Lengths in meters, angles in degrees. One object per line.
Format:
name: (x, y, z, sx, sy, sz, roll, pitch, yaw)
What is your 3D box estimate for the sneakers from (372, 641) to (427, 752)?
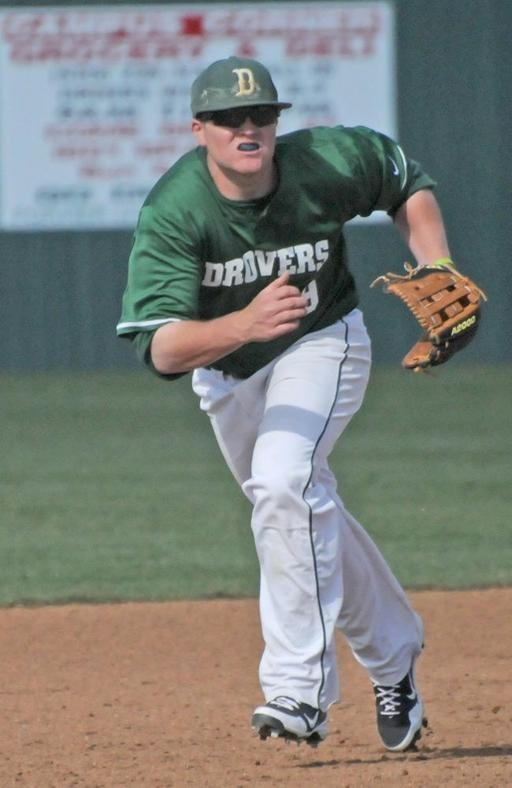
sneakers: (0.386, 0.835, 3.918, 0.087, 0.250, 0.123, -9, -26, 16)

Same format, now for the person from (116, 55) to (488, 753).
person: (0.118, -0.016, 3.913, 0.698, 1.766, 0.846, 8, 13, 43)

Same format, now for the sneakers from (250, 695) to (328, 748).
sneakers: (0.087, 0.856, 3.705, 0.251, 0.089, 0.132, 25, 14, -46)

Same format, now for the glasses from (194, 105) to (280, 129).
glasses: (-0.055, -0.728, 3.798, 0.225, 0.060, 0.137, -1, 8, -1)

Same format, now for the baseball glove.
baseball glove: (0.526, -0.215, 4.000, 0.356, 0.262, 0.125, -19, -7, -28)

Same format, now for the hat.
hat: (-0.055, -0.806, 3.784, 0.158, 0.117, 0.208, -7, 4, -26)
